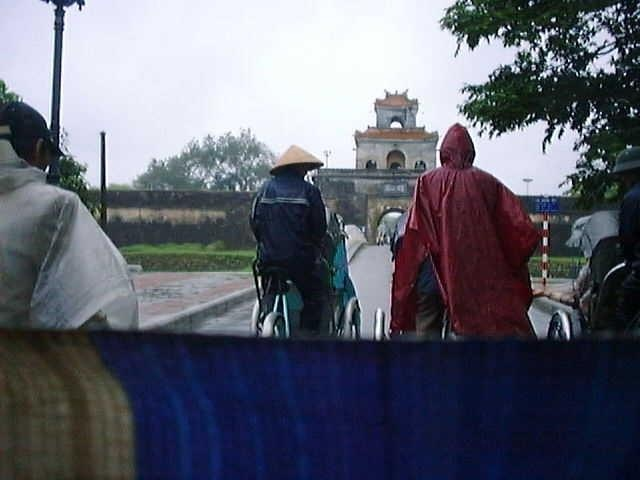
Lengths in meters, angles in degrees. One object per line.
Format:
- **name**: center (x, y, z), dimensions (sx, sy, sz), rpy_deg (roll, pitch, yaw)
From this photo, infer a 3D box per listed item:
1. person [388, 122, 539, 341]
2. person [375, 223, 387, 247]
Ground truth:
- **person**: center (0.859, -0.025, 4.808), dimensions (0.574, 1.267, 0.919), rpy_deg (-3, 7, -36)
- **person**: center (3.253, -0.239, 45.060), dimensions (0.709, 1.111, 2.055), rpy_deg (0, 15, 5)
